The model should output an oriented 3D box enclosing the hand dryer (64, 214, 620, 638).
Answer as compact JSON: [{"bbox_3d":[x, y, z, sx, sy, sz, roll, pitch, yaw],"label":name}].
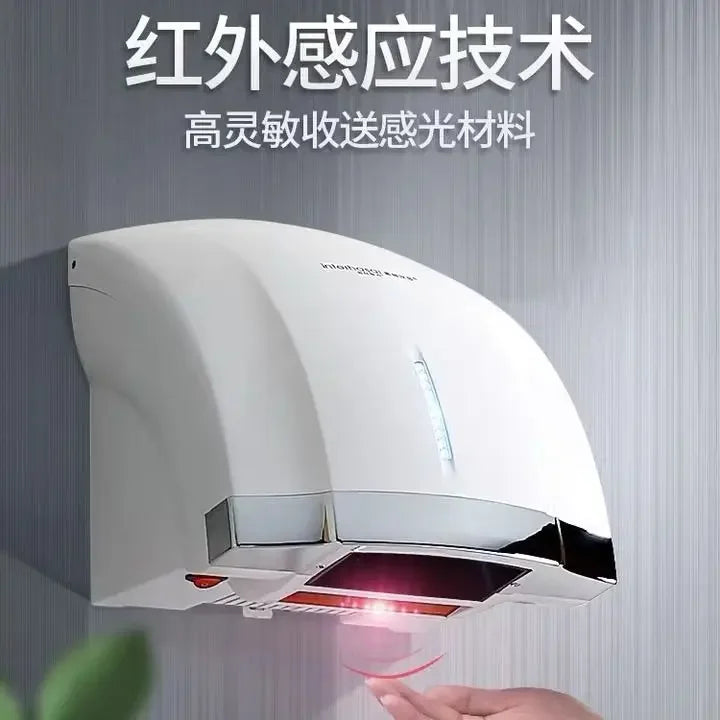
[{"bbox_3d":[-0.020,0.070,1.850,0.770,0.435,0.676,9,66,-42],"label":"hand dryer"}]
